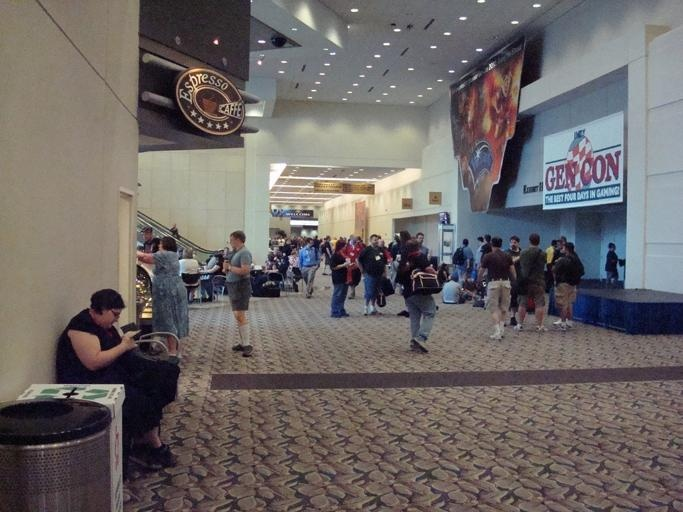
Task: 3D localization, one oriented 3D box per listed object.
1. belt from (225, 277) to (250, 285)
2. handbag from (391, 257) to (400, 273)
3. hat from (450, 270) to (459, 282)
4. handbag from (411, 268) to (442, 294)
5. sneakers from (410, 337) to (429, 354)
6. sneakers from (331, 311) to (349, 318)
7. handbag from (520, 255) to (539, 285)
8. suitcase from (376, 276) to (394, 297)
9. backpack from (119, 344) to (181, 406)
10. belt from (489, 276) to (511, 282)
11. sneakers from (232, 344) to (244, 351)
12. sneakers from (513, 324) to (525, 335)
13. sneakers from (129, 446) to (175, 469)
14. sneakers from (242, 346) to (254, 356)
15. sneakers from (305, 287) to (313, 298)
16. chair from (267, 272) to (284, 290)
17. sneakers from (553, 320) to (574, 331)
[{"bbox_3d":[-1.338,0.335,6.433,0.285,0.105,0.150,-1,2,-18],"label":"belt"},{"bbox_3d":[1.293,0.198,12.102,0.279,0.368,0.333,3,-12,-14],"label":"handbag"},{"bbox_3d":[3.220,0.582,14.289,0.219,0.315,0.289,11,0,-18],"label":"hat"},{"bbox_3d":[1.090,0.348,6.486,0.364,0.322,0.204,0,2,5],"label":"handbag"},{"bbox_3d":[1.037,1.182,6.689,0.214,0.196,0.304,0,2,6],"label":"sneakers"},{"bbox_3d":[-0.050,1.159,9.869,0.366,0.160,0.124,-3,-1,10],"label":"sneakers"},{"bbox_3d":[3.062,0.196,8.095,0.325,0.579,0.139,1,2,21],"label":"handbag"},{"bbox_3d":[0.817,0.579,9.498,0.297,0.344,0.323,0,2,6],"label":"suitcase"},{"bbox_3d":[-1.353,0.846,3.489,0.419,0.341,0.185,25,-24,-12],"label":"backpack"},{"bbox_3d":[2.462,0.357,7.728,0.338,0.072,0.113,-1,3,-30],"label":"belt"},{"bbox_3d":[-1.393,1.219,6.644,0.091,0.102,0.239,-1,-6,5],"label":"sneakers"},{"bbox_3d":[2.969,1.233,8.394,0.097,0.128,0.300,-3,-8,1],"label":"sneakers"},{"bbox_3d":[-1.301,1.380,3.473,0.320,0.141,0.130,4,-1,-1],"label":"sneakers"},{"bbox_3d":[-1.228,1.220,6.468,0.131,0.134,0.183,0,2,-13],"label":"sneakers"},{"bbox_3d":[-0.930,1.036,13.941,0.206,0.265,0.610,0,-7,-5],"label":"sneakers"},{"bbox_3d":[-1.877,0.695,13.944,0.415,0.556,0.418,2,-2,-21],"label":"chair"},{"bbox_3d":[3.866,1.203,8.680,0.141,0.164,0.385,1,5,3],"label":"sneakers"}]
